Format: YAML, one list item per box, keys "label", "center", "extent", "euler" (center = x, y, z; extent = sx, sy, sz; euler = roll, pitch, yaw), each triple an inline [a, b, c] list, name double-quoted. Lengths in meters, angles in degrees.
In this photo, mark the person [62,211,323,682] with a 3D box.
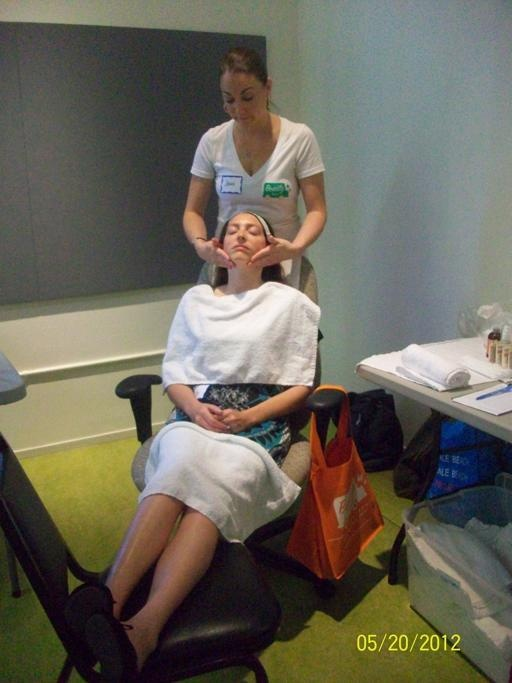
- label: "person"
  center: [-0.085, 0.178, 1.476]
  extent: [0.492, 0.538, 1.264]
  euler: [9, 42, 15]
